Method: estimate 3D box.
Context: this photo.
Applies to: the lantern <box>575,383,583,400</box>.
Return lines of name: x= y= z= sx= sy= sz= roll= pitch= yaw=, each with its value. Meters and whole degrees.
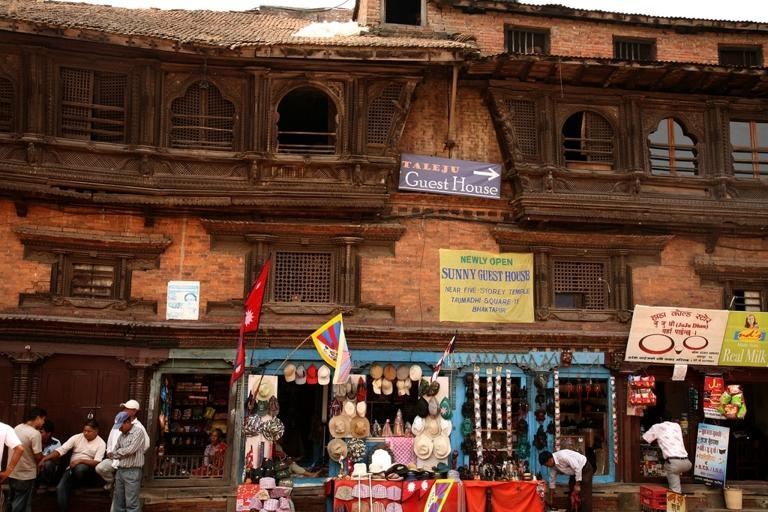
lantern: x=5.351 y=3.721 z=30.094 sx=0.194 sy=0.439 sz=0.425 roll=-2 pitch=-12 yaw=9

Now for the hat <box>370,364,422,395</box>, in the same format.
hat: x=0.349 y=3.341 z=29.447 sx=1.378 sy=0.818 sz=0.612 roll=0 pitch=-12 yaw=-1

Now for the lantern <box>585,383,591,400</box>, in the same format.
lantern: x=5.594 y=3.693 z=30.077 sx=0.193 sy=0.445 sz=0.471 roll=-3 pitch=-12 yaw=10

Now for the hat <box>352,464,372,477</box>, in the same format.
hat: x=-0.575 y=5.499 z=27.920 sx=0.359 sy=0.157 sz=0.331 roll=-3 pitch=-2 yaw=-22

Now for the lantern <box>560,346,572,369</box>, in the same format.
lantern: x=4.947 y=2.829 z=29.811 sx=0.374 sy=0.418 sz=0.134 roll=6 pitch=-1 yaw=0

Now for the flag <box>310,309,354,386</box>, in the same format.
flag: x=-1.322 y=2.373 z=28.147 sx=0.914 sy=1.705 sz=0.525 roll=0 pitch=-12 yaw=-2

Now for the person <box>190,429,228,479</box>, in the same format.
person: x=-4.629 y=5.287 z=29.297 sx=0.869 sy=1.250 sz=1.161 roll=2 pitch=-12 yaw=-10

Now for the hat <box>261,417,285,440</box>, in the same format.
hat: x=-2.842 y=4.534 z=28.687 sx=0.657 sy=0.510 sz=0.570 roll=0 pitch=-26 yaw=-3

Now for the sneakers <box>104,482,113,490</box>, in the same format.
sneakers: x=-6.922 y=5.854 z=27.791 sx=0.172 sy=0.203 sz=0.091 roll=6 pitch=-29 yaw=3

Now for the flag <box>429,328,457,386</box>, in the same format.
flag: x=1.609 y=2.716 z=29.221 sx=0.727 sy=1.265 sz=0.776 roll=-1 pitch=-12 yaw=0

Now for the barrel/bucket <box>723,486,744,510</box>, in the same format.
barrel/bucket: x=9.340 y=6.518 z=29.423 sx=0.465 sy=0.584 sz=0.387 roll=-3 pitch=-12 yaw=12

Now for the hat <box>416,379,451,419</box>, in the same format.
hat: x=1.378 y=3.813 z=29.235 sx=0.908 sy=1.079 sz=0.310 roll=0 pitch=-12 yaw=-5

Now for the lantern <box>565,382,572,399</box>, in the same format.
lantern: x=5.070 y=3.687 z=30.116 sx=0.223 sy=0.435 sz=0.290 roll=2 pitch=-12 yaw=-11

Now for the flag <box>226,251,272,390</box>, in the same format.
flag: x=-3.374 y=1.559 z=28.195 sx=0.992 sy=3.401 sz=2.037 roll=1 pitch=-12 yaw=-6

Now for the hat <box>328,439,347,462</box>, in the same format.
hat: x=-1.188 y=5.120 z=28.803 sx=0.488 sy=0.621 sz=0.202 roll=0 pitch=-12 yaw=-3

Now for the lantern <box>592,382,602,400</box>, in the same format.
lantern: x=5.813 y=3.726 z=30.041 sx=0.345 sy=0.398 sz=0.130 roll=1 pitch=7 yaw=-16

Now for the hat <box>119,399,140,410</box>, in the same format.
hat: x=-6.223 y=3.734 z=27.298 sx=0.584 sy=0.237 sz=0.379 roll=5 pitch=-6 yaw=-12
